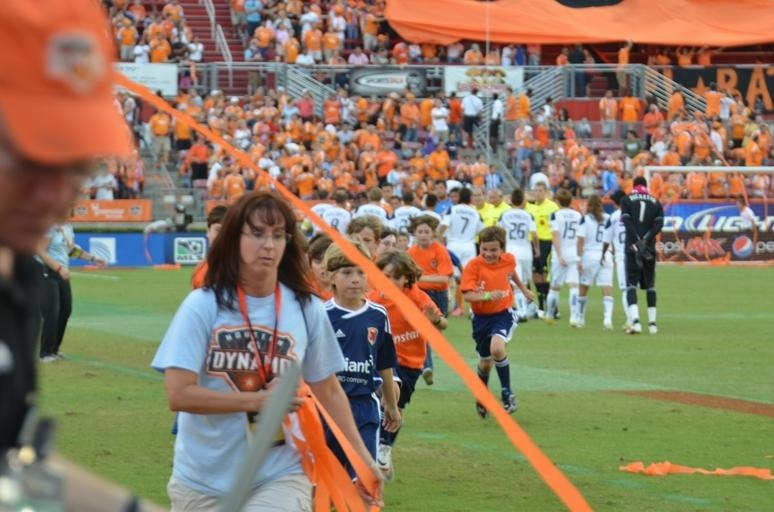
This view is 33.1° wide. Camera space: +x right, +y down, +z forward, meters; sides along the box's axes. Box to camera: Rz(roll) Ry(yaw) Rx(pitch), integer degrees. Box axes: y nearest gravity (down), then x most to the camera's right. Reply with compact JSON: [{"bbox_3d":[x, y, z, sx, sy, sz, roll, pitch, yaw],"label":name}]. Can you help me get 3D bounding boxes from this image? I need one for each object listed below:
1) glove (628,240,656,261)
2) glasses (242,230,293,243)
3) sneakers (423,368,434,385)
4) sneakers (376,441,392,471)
[{"bbox_3d":[4.598,-0.101,23.423,0.347,0.352,0.142,41,-16,3],"label":"glove"},{"bbox_3d":[-1.387,-0.212,14.409,0.466,0.097,0.098,0,4,-11],"label":"glasses"},{"bbox_3d":[0.584,1.728,18.652,0.108,0.127,0.304,-6,-30,-2],"label":"sneakers"},{"bbox_3d":[-0.045,2.540,16.613,0.135,0.365,0.155,2,-40,-15],"label":"sneakers"}]
